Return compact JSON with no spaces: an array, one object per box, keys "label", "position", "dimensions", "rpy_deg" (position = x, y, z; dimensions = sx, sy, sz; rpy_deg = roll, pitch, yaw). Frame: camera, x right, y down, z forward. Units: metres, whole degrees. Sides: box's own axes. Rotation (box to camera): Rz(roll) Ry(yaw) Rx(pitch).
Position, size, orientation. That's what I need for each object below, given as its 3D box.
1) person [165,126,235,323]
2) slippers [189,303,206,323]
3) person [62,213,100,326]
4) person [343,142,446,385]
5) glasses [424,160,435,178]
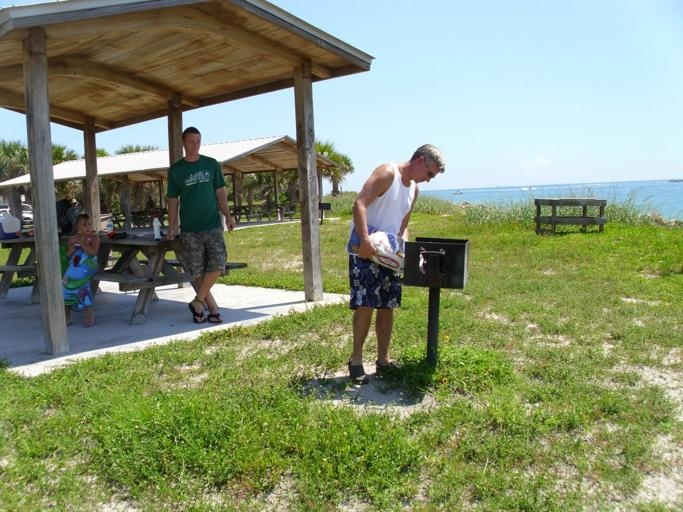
[{"label":"person","position":[-1.889,-0.396,7.165],"dimensions":[0.766,2.521,0.425],"rpy_deg":[-3,7,-16]},{"label":"slippers","position":[-1.914,0.781,7.248],"dimensions":[0.095,0.359,0.136],"rpy_deg":[-43,-21,27]},{"label":"person","position":[-3.507,0.158,7.347],"dimensions":[0.454,1.485,0.831],"rpy_deg":[-4,8,-27]},{"label":"person","position":[0.435,0.076,5.177],"dimensions":[0.786,2.226,0.413],"rpy_deg":[-3,7,-19]},{"label":"glasses","position":[0.827,-0.807,5.032],"dimensions":[0.035,0.139,0.121],"rpy_deg":[-1,-11,25]}]
